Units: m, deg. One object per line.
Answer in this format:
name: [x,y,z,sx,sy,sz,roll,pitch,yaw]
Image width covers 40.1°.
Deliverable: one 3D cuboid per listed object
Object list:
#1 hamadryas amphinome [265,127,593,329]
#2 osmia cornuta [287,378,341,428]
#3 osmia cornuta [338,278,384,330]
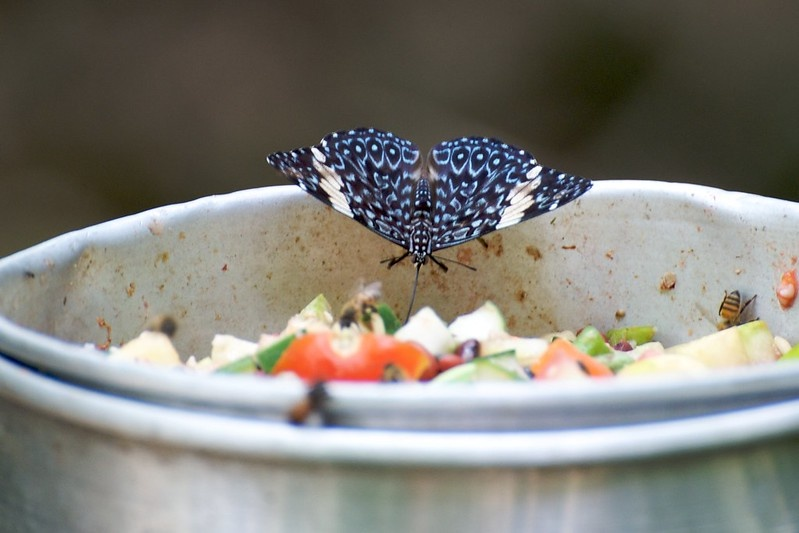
hamadryas amphinome: [0.058,-0.152,1.948,0.576,0.373,0.285,3,-20,1]
osmia cornuta: [-0.113,0.175,1.417,0.053,0.059,0.029,3,2,9]
osmia cornuta: [-0.059,0.061,1.715,0.061,0.041,0.086,-44,8,-3]
